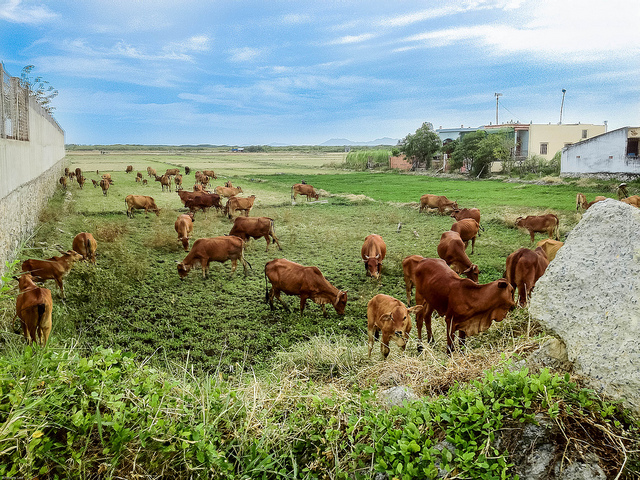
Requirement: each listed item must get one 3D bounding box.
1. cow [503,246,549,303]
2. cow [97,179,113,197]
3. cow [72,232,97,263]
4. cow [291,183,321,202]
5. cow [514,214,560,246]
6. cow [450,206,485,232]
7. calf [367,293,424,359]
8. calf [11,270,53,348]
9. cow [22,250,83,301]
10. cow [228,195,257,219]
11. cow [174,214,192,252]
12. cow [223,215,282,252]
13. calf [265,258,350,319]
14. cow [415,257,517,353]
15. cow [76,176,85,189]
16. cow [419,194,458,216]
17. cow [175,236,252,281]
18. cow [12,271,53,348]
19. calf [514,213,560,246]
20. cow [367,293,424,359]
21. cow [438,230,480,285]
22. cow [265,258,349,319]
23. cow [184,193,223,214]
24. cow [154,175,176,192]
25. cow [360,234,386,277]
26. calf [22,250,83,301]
[{"bbox_3d":[3.887,0.719,7.774,0.885,1.228,0.872,1,10,7],"label":"cow"},{"bbox_3d":[-12.056,-3.159,24.413,0.787,0.834,1.542,2,21,-27],"label":"cow"},{"bbox_3d":[-6.207,0.142,11.553,0.532,0.927,1.733,-8,14,-28],"label":"cow"},{"bbox_3d":[-0.858,-2.761,24.639,1.493,0.936,1.870,1,10,-4],"label":"cow"},{"bbox_3d":[6.868,-0.359,13.629,0.419,0.836,1.508,-7,6,-36],"label":"cow"},{"bbox_3d":[4.865,-0.860,15.064,1.725,0.948,0.557,7,6,33],"label":"cow"},{"bbox_3d":[1.151,1.380,6.574,0.665,0.923,1.568,-6,-1,-6],"label":"calf"},{"bbox_3d":[-4.791,1.197,7.122,0.460,1.078,1.879,6,3,-43],"label":"calf"},{"bbox_3d":[-5.726,0.746,9.156,1.229,1.046,0.318,1,-4,-37],"label":"cow"},{"bbox_3d":[-3.324,-1.414,18.619,1.839,1.228,0.645,-3,4,-25],"label":"cow"},{"bbox_3d":[-4.221,-0.320,13.444,0.458,0.727,1.351,1,40,-18],"label":"cow"},{"bbox_3d":[-2.133,-0.243,13.344,1.954,1.080,0.471,1,11,24],"label":"cow"},{"bbox_3d":[-0.305,1.029,8.719,1.974,1.141,0.484,11,15,28],"label":"calf"},{"bbox_3d":[2.001,1.037,6.299,0.602,1.316,1.924,0,6,-28],"label":"cow"},{"bbox_3d":[-14.941,-3.762,27.364,0.579,0.617,1.140,-4,17,-36],"label":"cow"},{"bbox_3d":[5.162,-1.573,19.005,1.490,0.832,0.884,5,11,18],"label":"cow"},{"bbox_3d":[-3.009,0.350,11.224,2.371,1.285,0.787,0,-1,-18],"label":"cow"},{"bbox_3d":[-4.448,1.099,6.654,0.752,1.210,0.739,12,6,41],"label":"cow"},{"bbox_3d":[6.853,-0.367,13.607,0.467,0.857,1.543,-7,5,-37],"label":"calf"},{"bbox_3d":[1.092,1.360,6.586,0.735,0.924,1.582,-4,2,-6],"label":"cow"},{"bbox_3d":[3.127,0.443,9.908,0.638,1.025,1.844,-8,21,-3],"label":"cow"},{"bbox_3d":[-0.313,1.037,8.724,2.029,1.094,0.512,11,14,29],"label":"cow"},{"bbox_3d":[-5.160,-1.677,19.466,1.559,0.794,0.684,-7,13,-38],"label":"cow"},{"bbox_3d":[-9.811,-3.697,27.570,0.635,1.004,2.242,-3,11,-21],"label":"cow"},{"bbox_3d":[1.345,0.399,10.907,0.596,0.916,1.182,3,11,5],"label":"cow"},{"bbox_3d":[-5.696,0.645,9.361,1.229,1.169,1.084,-9,18,-30],"label":"calf"}]
